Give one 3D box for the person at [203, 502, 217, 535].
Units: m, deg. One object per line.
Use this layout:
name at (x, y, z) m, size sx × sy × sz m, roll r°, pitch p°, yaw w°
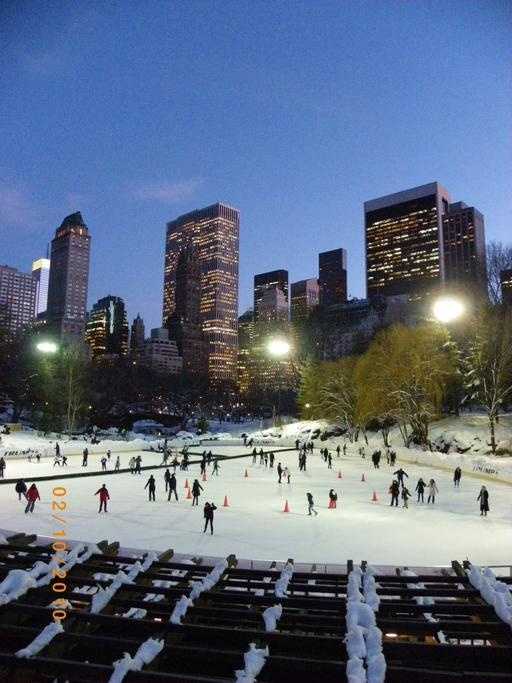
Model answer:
person at (-1.496, 5.589, 17.870) m, size 0.369 × 0.937 × 1.426 m, roll -1°, pitch -7°, yaw -5°
